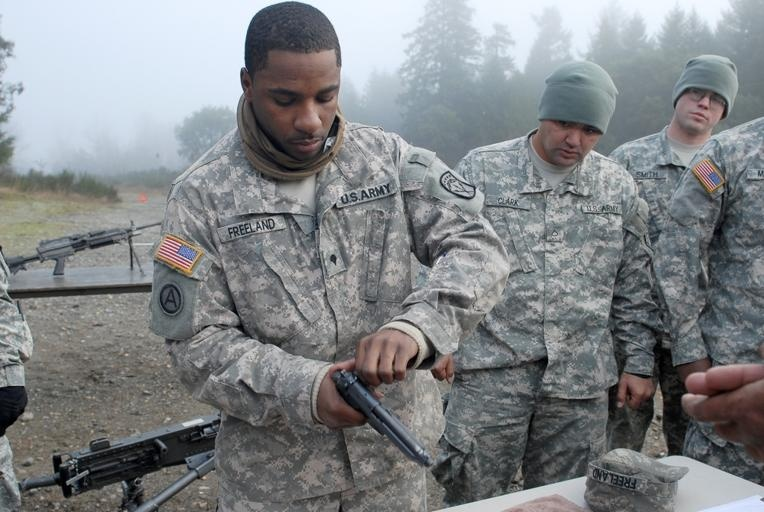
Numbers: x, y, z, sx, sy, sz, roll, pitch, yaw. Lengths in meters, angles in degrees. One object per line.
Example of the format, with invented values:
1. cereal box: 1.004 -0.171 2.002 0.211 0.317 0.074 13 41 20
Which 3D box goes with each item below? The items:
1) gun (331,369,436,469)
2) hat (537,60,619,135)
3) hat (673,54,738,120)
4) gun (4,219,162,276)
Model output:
1. gun: -0.013 0.837 3.566 0.587 0.108 0.287 46 -5 15
2. hat: 1.439 -1.176 5.112 0.530 0.481 0.635 9 2 -10
3. hat: 2.776 -1.473 5.935 0.412 0.416 0.546 19 -9 11
4. gun: -4.847 -0.135 11.073 2.627 0.766 0.513 -16 15 -28
